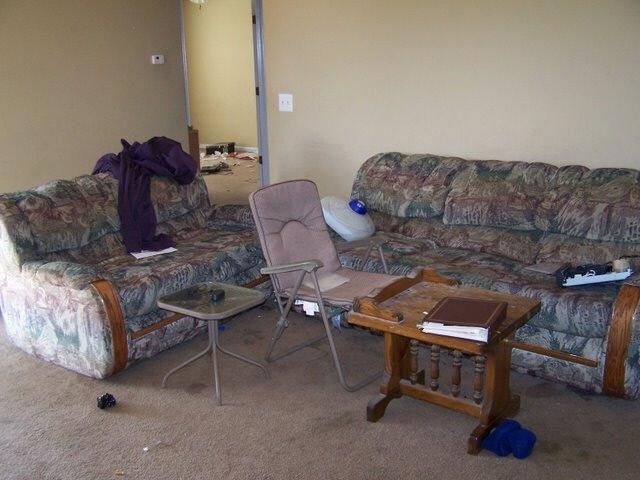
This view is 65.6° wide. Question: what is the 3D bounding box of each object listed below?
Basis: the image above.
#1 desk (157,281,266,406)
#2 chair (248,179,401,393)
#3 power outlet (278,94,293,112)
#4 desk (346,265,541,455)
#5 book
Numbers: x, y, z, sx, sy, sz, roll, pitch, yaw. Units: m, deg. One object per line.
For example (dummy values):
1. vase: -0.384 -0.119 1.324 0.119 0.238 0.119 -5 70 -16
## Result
1. desk: -0.624 0.558 2.947 0.683 0.485 0.583 0 11 -2
2. chair: 0.084 0.233 3.199 0.965 1.085 0.798 15 24 29
3. power outlet: -0.346 -1.416 5.082 0.232 0.191 0.024 5 9 34
4. desk: 0.629 0.588 2.545 0.771 0.581 0.726 11 14 41
5. book: 0.676 0.350 2.291 0.304 0.085 0.363 8 19 32
